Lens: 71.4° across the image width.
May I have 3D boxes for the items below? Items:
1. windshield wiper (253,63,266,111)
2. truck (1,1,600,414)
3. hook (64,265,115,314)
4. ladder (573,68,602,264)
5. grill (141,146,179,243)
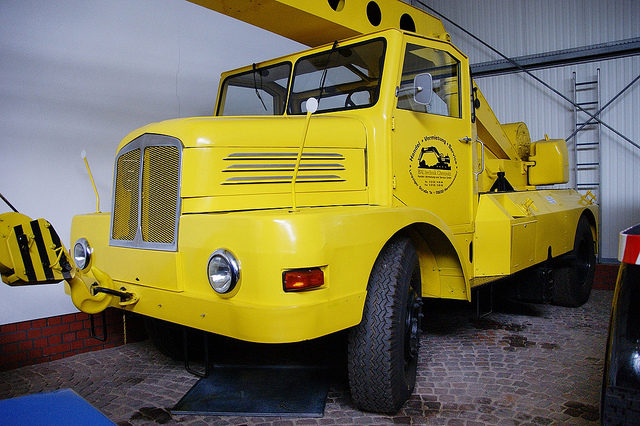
[{"bbox_3d":[-0.718,-1.487,5.212,0.050,0.436,0.060,-13,2,32],"label":"windshield wiper"},{"bbox_3d":[1.432,-0.221,6.712,3.024,3.624,8.656,-1,-3,41],"label":"truck"},{"bbox_3d":[-1.972,0.667,3.833,0.362,0.391,0.289,-5,7,-26],"label":"hook"},{"bbox_3d":[5.489,-0.970,9.122,0.699,3.821,0.394,5,9,43],"label":"ladder"},{"bbox_3d":[-1.351,-0.157,3.732,0.382,0.787,0.130,2,7,27],"label":"grill"}]
